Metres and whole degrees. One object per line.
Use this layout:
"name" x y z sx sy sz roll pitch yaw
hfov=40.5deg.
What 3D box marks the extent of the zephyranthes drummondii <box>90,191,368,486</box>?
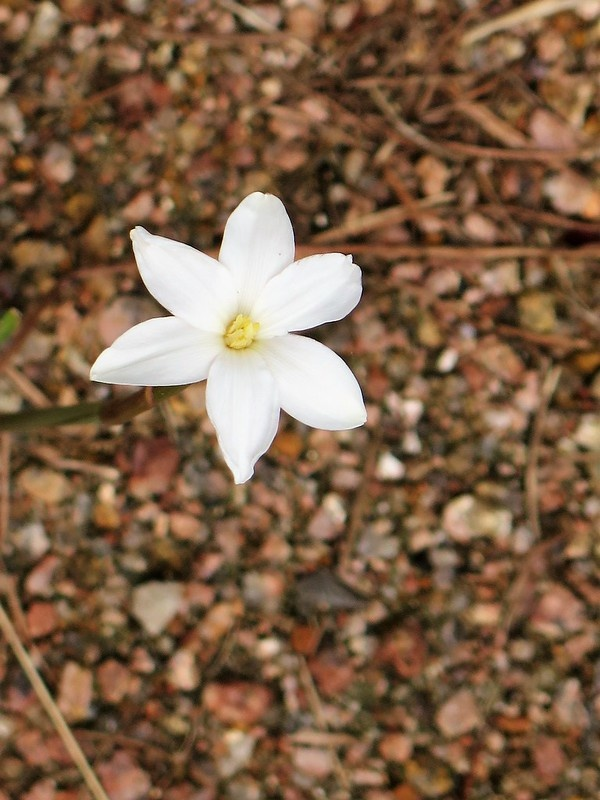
"zephyranthes drummondii" -0.099 -0.074 1.010 0.376 0.133 0.327 -11 96 -21
